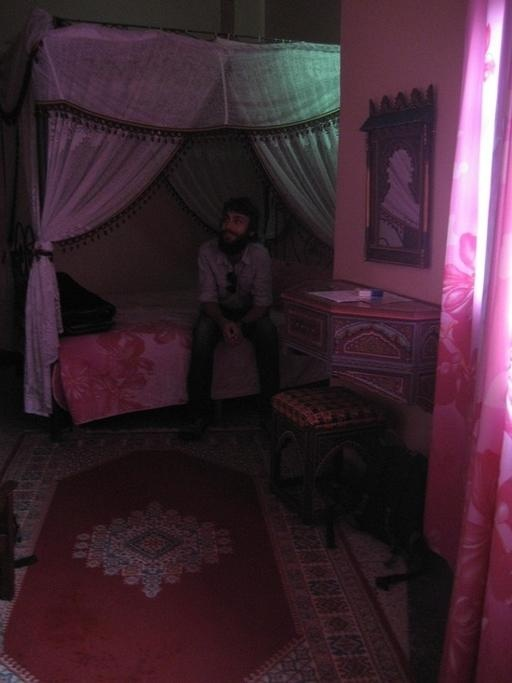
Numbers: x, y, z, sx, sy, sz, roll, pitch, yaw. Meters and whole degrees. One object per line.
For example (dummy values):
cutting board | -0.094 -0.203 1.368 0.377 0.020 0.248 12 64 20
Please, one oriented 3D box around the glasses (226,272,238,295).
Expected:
glasses | -0.152 -0.344 3.299 0.054 0.109 0.026 3 12 6

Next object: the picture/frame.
picture/frame | 0.526 -0.617 2.121 0.067 0.657 0.447 -1 8 -21

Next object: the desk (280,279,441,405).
desk | 0.321 -0.021 2.147 0.378 0.303 0.798 -1 11 -33

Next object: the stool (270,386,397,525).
stool | 0.282 0.433 2.260 0.408 0.379 0.400 1 6 -28
